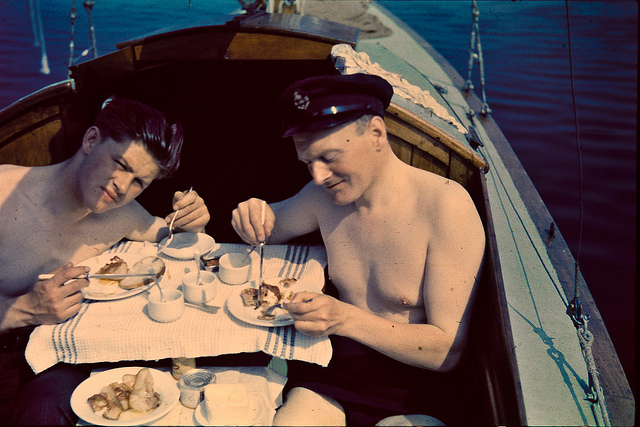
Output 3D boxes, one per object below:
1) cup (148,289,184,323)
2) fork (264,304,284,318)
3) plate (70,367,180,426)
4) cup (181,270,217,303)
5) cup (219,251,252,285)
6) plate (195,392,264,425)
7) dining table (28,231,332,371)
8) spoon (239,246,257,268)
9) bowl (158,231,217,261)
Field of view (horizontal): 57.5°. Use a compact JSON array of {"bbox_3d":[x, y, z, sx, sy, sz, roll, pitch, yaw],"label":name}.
[{"bbox_3d":[-1.067,0.648,4.102,0.226,0.165,0.226,2,13,0],"label":"cup"},{"bbox_3d":[-0.336,0.690,4.151,0.067,0.104,0.037,29,-10,-7],"label":"fork"},{"bbox_3d":[-1.302,1.229,3.872,0.419,0.060,0.426,10,29,2],"label":"plate"},{"bbox_3d":[-0.885,0.523,4.257,0.226,0.154,0.233,2,24,-1],"label":"cup"},{"bbox_3d":[-0.642,0.407,4.440,0.231,0.143,0.233,4,32,-2],"label":"cup"},{"bbox_3d":[-0.595,1.327,3.887,0.451,0.126,0.206,-2,14,-22],"label":"plate"},{"bbox_3d":[-0.950,0.641,4.359,2.055,0.753,0.953,2,13,-2],"label":"dining table"},{"bbox_3d":[-0.576,0.342,4.531,0.046,0.231,0.028,38,8,20],"label":"spoon"},{"bbox_3d":[-1.074,0.220,4.695,0.482,0.204,0.307,-2,10,-9],"label":"bowl"}]
